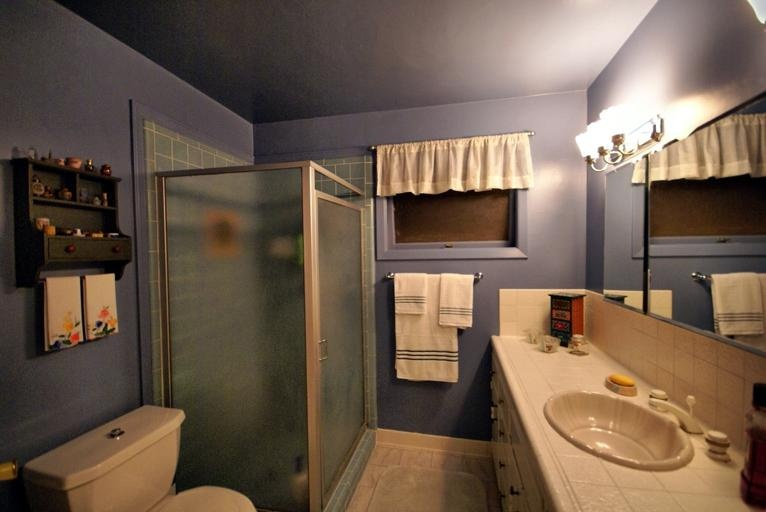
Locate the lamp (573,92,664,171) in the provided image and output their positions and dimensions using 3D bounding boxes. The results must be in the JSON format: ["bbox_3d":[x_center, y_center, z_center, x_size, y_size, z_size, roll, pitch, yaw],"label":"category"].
[{"bbox_3d":[1.384,-0.699,3.265,0.320,0.287,0.628,7,-5,-9],"label":"lamp"}]

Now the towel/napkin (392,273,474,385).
[{"bbox_3d":[0.376,0.501,3.965,0.767,0.994,0.131,0,-1,8],"label":"towel/napkin"}]

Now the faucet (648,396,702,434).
[{"bbox_3d":[1.502,0.821,2.935,0.094,0.173,0.324,1,3,-26],"label":"faucet"}]

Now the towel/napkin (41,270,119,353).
[{"bbox_3d":[-1.724,0.309,3.142,0.072,0.536,0.476,0,0,33],"label":"towel/napkin"}]

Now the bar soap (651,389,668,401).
[{"bbox_3d":[1.464,0.735,2.965,0.063,0.015,0.064,-1,2,39],"label":"bar soap"}]

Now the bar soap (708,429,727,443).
[{"bbox_3d":[1.619,0.868,2.708,0.059,0.014,0.058,-5,4,-38],"label":"bar soap"}]
